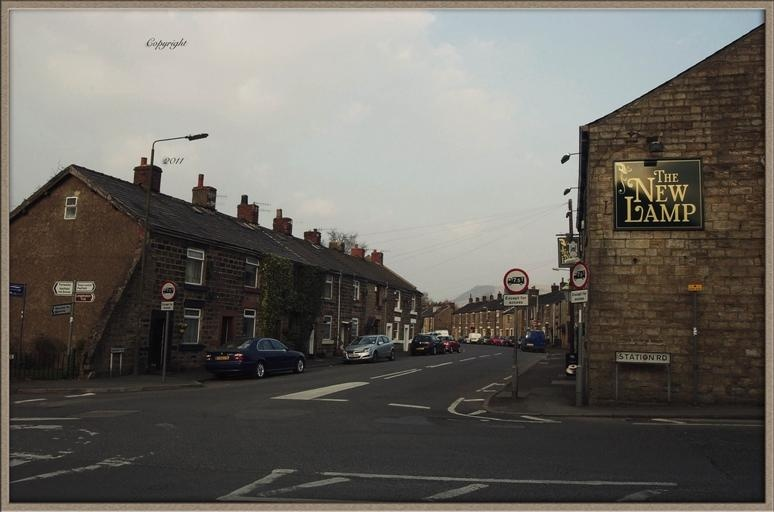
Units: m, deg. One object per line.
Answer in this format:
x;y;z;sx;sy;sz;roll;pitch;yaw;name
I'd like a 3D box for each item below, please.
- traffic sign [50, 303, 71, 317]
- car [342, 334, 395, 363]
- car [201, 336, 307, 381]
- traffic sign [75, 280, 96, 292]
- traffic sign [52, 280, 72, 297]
-11.610;1.881;31.696;0.635;0.468;0.899;5;-13;-23;traffic sign
-0.787;4.551;43.937;1.229;1.654;3.494;-6;-13;26;car
-4.884;3.886;33.403;1.417;1.061;3.653;-3;-5;29;car
-10.945;1.127;32.167;0.518;0.379;0.183;0;-44;-4;traffic sign
-11.782;1.225;32.376;0.970;0.598;0.299;-9;-14;34;traffic sign
